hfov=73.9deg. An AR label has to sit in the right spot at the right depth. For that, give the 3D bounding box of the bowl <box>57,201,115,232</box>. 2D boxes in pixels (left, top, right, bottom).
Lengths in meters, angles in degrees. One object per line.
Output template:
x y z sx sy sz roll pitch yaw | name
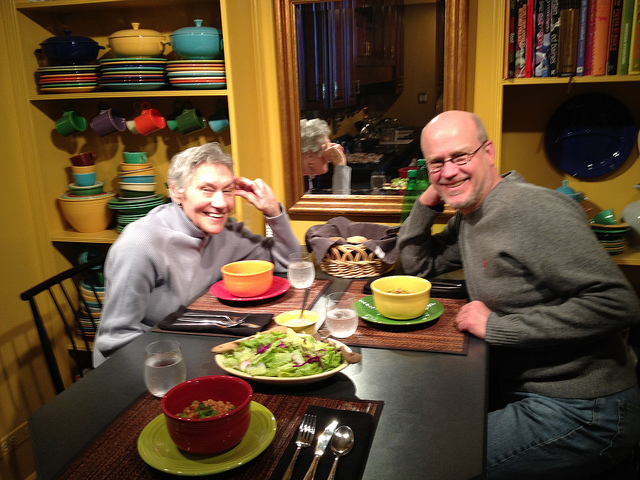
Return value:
-1.438 -0.159 2.590 0.271 0.131 0.250 -7 -2 0 | bowl

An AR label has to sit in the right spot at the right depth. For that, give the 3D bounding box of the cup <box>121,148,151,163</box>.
-1.070 -0.488 2.480 0.124 0.043 0.099 3 7 35 | cup

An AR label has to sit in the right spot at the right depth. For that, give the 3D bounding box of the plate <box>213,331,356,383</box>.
-0.085 0.288 1.055 0.220 0.049 0.161 2 7 8 | plate

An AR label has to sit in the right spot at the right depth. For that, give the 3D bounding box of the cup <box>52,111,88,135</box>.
-1.390 -0.650 2.389 0.150 0.150 0.144 -3 1 0 | cup

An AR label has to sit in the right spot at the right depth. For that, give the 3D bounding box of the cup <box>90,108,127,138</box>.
-1.144 -0.675 2.440 0.167 0.124 0.207 -6 35 14 | cup

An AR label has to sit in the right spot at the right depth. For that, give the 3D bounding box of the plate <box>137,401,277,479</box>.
-0.220 0.394 0.843 0.269 0.026 0.179 -6 16 -10 | plate

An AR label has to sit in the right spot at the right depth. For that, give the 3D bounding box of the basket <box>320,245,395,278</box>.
0.137 0.094 1.843 0.231 0.069 0.185 -7 12 -30 | basket

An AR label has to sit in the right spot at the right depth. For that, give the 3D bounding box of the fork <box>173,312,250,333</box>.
-0.332 0.263 1.370 0.261 0.026 0.072 -1 12 3 | fork

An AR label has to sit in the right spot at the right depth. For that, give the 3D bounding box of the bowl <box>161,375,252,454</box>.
-0.202 0.332 0.838 0.154 0.071 0.158 4 5 0 | bowl

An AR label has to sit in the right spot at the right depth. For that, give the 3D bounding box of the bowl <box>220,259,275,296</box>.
-0.258 0.136 1.560 0.166 0.064 0.158 0 14 0 | bowl

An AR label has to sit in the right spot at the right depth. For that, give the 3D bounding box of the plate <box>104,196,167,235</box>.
-1.058 -0.173 2.510 0.331 0.140 0.286 -4 13 -16 | plate

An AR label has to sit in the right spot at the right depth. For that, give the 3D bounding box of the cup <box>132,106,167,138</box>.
-0.956 -0.689 2.429 0.147 0.167 0.118 -19 -29 14 | cup

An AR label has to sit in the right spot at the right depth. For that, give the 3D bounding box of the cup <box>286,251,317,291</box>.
-0.033 0.109 1.596 0.158 0.146 0.126 -2 13 1 | cup

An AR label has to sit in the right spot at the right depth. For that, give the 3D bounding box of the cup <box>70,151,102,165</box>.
-1.371 -0.480 2.493 0.128 0.067 0.088 -4 11 -16 | cup

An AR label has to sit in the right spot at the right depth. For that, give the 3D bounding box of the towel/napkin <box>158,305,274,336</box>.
-0.335 0.259 1.357 0.233 0.025 0.116 2 14 8 | towel/napkin

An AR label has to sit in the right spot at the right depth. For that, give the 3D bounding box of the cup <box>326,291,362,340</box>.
0.061 0.212 1.224 0.150 0.147 0.132 -1 1 -1 | cup

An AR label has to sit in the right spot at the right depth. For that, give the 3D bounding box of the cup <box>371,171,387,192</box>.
0.328 -0.330 2.350 0.103 0.114 0.100 1 18 0 | cup

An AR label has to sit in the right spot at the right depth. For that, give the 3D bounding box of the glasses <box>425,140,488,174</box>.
0.478 -0.275 1.511 0.159 0.036 0.154 -29 13 -39 | glasses

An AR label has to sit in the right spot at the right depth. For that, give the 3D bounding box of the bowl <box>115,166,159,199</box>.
-1.053 -0.334 2.442 0.236 0.130 0.206 3 10 16 | bowl

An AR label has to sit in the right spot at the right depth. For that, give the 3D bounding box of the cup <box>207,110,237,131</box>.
-0.560 -0.665 2.444 0.120 0.123 0.111 -12 -15 -3 | cup

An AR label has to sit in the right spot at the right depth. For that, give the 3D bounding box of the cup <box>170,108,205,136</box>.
-0.736 -0.644 2.401 0.193 0.161 0.111 -1 2 7 | cup

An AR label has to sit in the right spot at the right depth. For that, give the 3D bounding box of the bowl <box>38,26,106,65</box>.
-1.310 -1.006 2.265 0.241 0.118 0.278 -12 21 -31 | bowl

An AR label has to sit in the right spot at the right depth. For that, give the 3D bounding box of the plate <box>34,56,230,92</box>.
-1.007 -0.884 2.312 1.038 0.184 0.202 0 18 12 | plate

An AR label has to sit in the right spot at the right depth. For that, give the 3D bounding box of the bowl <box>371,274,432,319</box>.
0.266 0.181 1.384 0.198 0.072 0.170 -6 17 -13 | bowl

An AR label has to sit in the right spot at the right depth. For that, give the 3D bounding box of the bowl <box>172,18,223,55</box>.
-0.620 -1.015 2.191 0.236 0.132 0.224 0 21 0 | bowl

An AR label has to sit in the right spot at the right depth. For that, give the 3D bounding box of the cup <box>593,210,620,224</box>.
1.386 -0.104 2.085 0.097 0.066 0.094 -2 -10 0 | cup
